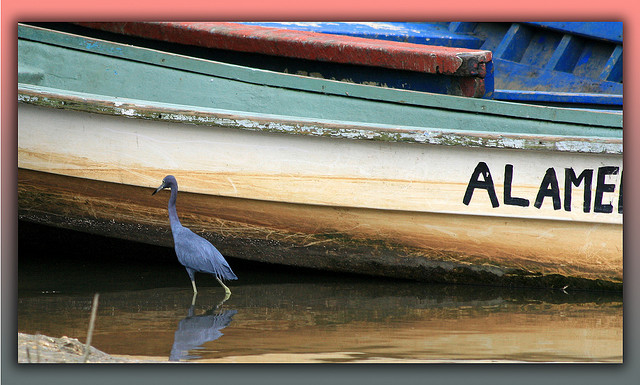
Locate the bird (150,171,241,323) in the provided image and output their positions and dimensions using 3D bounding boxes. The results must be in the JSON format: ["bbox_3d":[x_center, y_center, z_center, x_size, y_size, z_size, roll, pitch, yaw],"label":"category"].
[{"bbox_3d":[-0.743,0.320,7.267,0.609,0.734,0.383,5,2,-8],"label":"bird"}]
